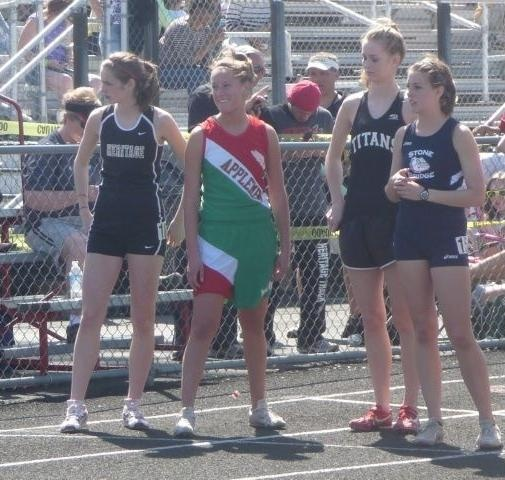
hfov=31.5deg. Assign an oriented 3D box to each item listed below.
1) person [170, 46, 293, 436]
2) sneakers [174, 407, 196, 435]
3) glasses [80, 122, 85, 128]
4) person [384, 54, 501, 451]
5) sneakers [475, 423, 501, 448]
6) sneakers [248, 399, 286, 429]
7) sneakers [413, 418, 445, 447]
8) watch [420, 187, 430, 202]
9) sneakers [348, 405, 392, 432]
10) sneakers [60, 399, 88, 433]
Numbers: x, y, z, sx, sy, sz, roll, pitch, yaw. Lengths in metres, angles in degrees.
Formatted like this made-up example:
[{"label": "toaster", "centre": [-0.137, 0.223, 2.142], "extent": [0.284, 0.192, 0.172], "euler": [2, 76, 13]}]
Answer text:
[{"label": "person", "centre": [-0.111, 0.044, 4.784], "extent": [0.615, 2.020, 0.397], "euler": [0, 5, -3]}, {"label": "sneakers", "centre": [-0.361, 0.946, 4.689], "extent": [0.101, 0.161, 0.074], "euler": [-1, 6, -11]}, {"label": "glasses", "centre": [-1.253, -0.845, 6.580], "extent": [0.055, 0.054, 0.014], "euler": [1, 11, 3]}, {"label": "person", "centre": [0.956, 0.050, 4.537], "extent": [0.626, 1.961, 0.326], "euler": [2, 6, 18]}, {"label": "sneakers", "centre": [1.163, 0.978, 4.424], "extent": [0.067, 0.074, 0.179], "euler": [1, 19, 11]}, {"label": "sneakers", "centre": [0.061, 0.962, 5.016], "extent": [0.249, 0.160, 0.102], "euler": [3, 4, 33]}, {"label": "sneakers", "centre": [0.895, 0.972, 4.555], "extent": [0.074, 0.100, 0.214], "euler": [0, -8, 27]}, {"label": "watch", "centre": [0.830, -0.220, 4.410], "extent": [0.038, 0.063, 0.054], "euler": [3, 6, 6]}, {"label": "sneakers", "centre": [0.642, 0.973, 4.921], "extent": [0.245, 0.132, 0.105], "euler": [-1, 4, -7]}, {"label": "sneakers", "centre": [-0.980, 0.959, 4.881], "extent": [0.081, 0.123, 0.242], "euler": [0, -7, 2]}]
